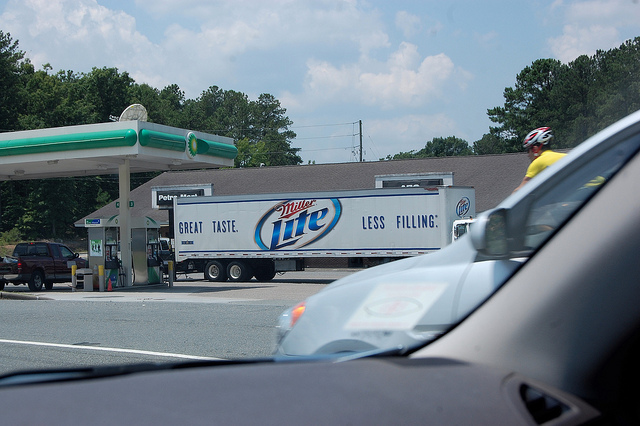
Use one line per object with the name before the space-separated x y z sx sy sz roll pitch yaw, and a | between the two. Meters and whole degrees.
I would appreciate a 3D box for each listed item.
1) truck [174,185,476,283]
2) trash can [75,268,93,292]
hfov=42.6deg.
truck | -0.312 0.469 26.365 9.612 2.364 1.015 -7 -3 25
trash can | -6.543 1.841 22.825 0.448 0.632 0.674 1 -3 -4
